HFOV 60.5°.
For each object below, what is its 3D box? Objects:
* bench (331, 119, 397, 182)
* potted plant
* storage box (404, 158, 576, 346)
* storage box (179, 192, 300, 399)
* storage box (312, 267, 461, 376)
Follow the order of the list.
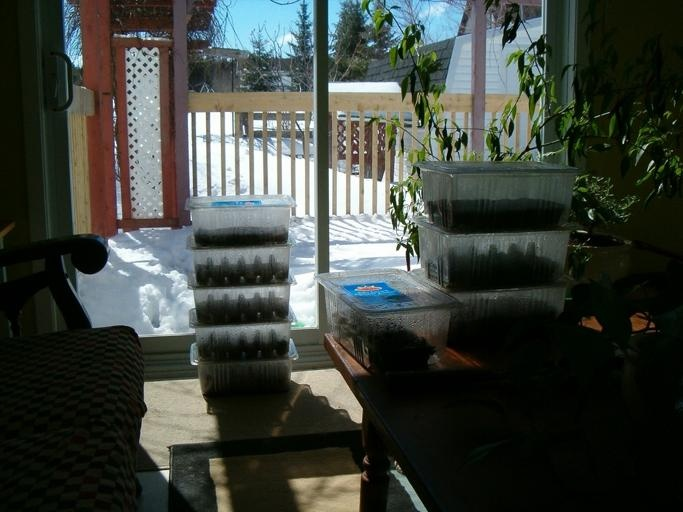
[{"bbox_3d":[0.129,-0.556,3.031,0.293,0.355,0.018,-2,28,4],"label":"bench"},{"bbox_3d":[0.817,-0.095,1.920,0.200,0.346,0.292,4,-4,15],"label":"potted plant"},{"bbox_3d":[0.367,-0.022,1.646,0.453,0.624,0.398,0,2,-15],"label":"storage box"},{"bbox_3d":[-0.342,0.081,2.623,0.599,1.024,0.656,-1,12,-7],"label":"storage box"},{"bbox_3d":[0.107,0.144,1.404,0.175,0.120,0.288,-3,13,-19],"label":"storage box"}]
